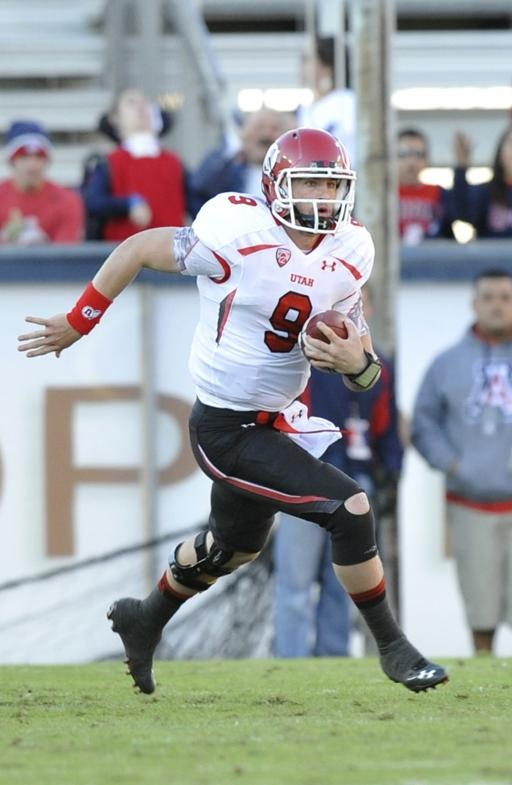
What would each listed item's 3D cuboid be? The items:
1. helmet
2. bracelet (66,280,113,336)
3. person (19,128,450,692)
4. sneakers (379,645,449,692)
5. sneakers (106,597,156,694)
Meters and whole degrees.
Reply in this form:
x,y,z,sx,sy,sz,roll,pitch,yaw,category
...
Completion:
x,y,z,sx,sy,sz,roll,pitch,yaw,category
0.142,-0.504,3.087,0.239,0.265,0.274,-3,15,-3,helmet
-0.466,-0.194,3.234,0.111,0.143,0.106,-11,13,-38,bracelet
0.020,0.113,3.153,1.243,1.442,0.732,-5,-9,38,person
0.411,0.725,3.014,0.079,0.100,0.222,-22,-5,-26,sneakers
-0.337,0.739,3.384,0.123,0.259,0.094,-34,-22,32,sneakers
